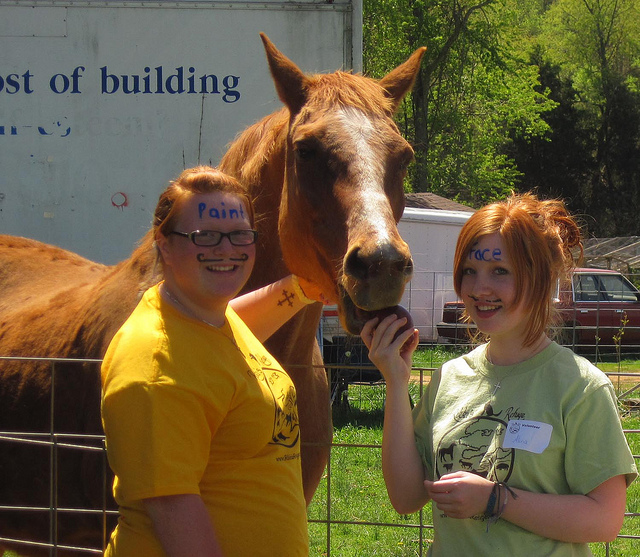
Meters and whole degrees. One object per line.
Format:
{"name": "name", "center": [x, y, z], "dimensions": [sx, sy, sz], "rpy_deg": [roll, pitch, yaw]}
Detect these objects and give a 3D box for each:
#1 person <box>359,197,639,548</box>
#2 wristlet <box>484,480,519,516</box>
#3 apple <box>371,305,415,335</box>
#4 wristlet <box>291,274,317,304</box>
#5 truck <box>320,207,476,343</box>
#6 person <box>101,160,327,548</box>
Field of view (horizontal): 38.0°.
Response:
{"name": "person", "center": [0.866, 0.461, 4.344], "dimensions": [1.193, 1.651, 0.571], "rpy_deg": [3, 4, 18]}
{"name": "wristlet", "center": [0.782, 0.978, 4.160], "dimensions": [0.114, 0.160, 0.038], "rpy_deg": [-8, -6, 13]}
{"name": "apple", "center": [0.344, 0.169, 4.340], "dimensions": [0.118, 0.143, 0.160], "rpy_deg": [-4, 22, -40]}
{"name": "wristlet", "center": [-0.096, 0.070, 4.960], "dimensions": [0.128, 0.034, 0.137], "rpy_deg": [48, 14, -43]}
{"name": "truck", "center": [1.652, -0.109, 16.622], "dimensions": [1.407, 1.838, 2.502], "rpy_deg": [-10, -8, 29]}
{"name": "person", "center": [-0.493, 0.383, 4.115], "dimensions": [0.917, 1.721, 0.566], "rpy_deg": [0, 4, -16]}
